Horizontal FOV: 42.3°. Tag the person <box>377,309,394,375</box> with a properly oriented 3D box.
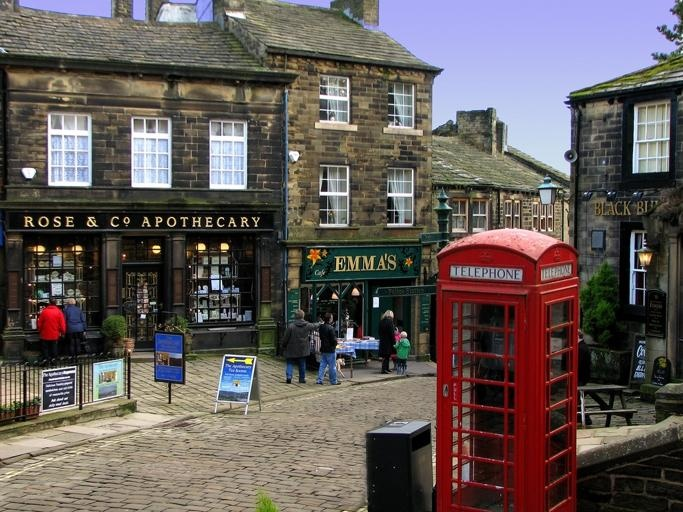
[{"bbox_3d":[1.347,2.518,25.708,0.480,1.892,0.683,4,10,5],"label":"person"}]

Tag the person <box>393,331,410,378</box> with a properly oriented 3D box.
[{"bbox_3d":[1.833,2.877,26.268,0.385,1.383,1.554,4,11,6],"label":"person"}]

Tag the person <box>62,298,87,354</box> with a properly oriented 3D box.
[{"bbox_3d":[-7.235,2.058,24.009,0.564,1.372,0.388,-6,13,-39],"label":"person"}]

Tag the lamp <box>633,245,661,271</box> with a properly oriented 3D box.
[{"bbox_3d":[8.112,0.067,23.497,0.526,0.736,0.585,3,-4,-27],"label":"lamp"}]

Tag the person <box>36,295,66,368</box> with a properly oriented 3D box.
[{"bbox_3d":[-7.800,2.112,23.761,0.742,1.500,0.617,1,11,-13],"label":"person"}]

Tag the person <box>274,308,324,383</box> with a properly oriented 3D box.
[{"bbox_3d":[-1.127,2.432,23.450,0.680,2.085,1.025,5,11,9],"label":"person"}]

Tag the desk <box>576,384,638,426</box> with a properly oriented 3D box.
[{"bbox_3d":[5.706,3.317,19.411,1.370,0.767,1.372,1,-4,-17],"label":"desk"}]
